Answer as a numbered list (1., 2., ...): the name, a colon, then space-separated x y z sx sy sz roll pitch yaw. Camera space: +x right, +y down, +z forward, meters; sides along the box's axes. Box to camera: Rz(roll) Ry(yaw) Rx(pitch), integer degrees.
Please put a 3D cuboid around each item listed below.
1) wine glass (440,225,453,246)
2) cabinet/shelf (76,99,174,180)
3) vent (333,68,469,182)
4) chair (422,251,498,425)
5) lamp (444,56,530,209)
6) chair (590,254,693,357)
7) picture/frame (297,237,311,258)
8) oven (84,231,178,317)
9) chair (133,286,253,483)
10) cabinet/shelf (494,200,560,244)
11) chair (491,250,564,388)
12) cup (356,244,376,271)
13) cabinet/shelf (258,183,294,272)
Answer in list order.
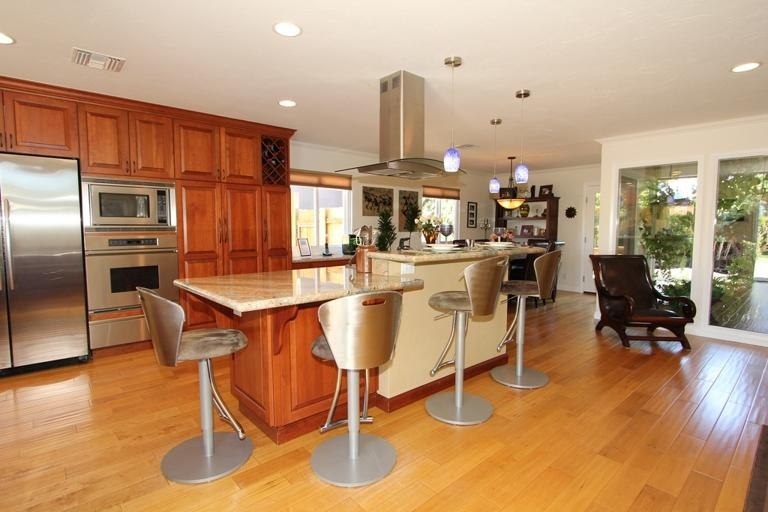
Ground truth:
1. wine glass: 0.671 -0.238 5.226 0.126 0.245 0.430 2 11 7
2. cabinet/shelf: -3.089 -1.377 5.673 0.412 0.831 1.086 0 -1 45
3. vent: 0.185 -1.395 5.359 1.111 1.034 1.354 13 21 40
4. chair: 0.748 0.743 4.626 0.767 1.537 0.717 -6 14 -26
5. lamp: 1.432 -1.678 6.752 1.284 1.285 0.286 -1 10 -37
6. chair: 3.348 0.575 6.398 1.036 1.078 1.011 0 12 -1
7. picture/frame: -1.232 -0.138 7.470 0.177 0.235 0.305 -3 11 -13
8. oven: -3.258 0.193 6.066 1.029 1.027 0.793 -5 12 -42
9. chair: -1.490 1.016 3.990 0.789 1.554 0.560 -6 14 -24
10. cabinet/shelf: 2.826 -0.654 9.331 0.388 1.022 1.183 -12 16 -43
11. chair: 1.507 0.628 5.201 0.598 1.408 0.745 5 13 19
12. cup: -0.182 0.022 4.636 0.167 0.261 0.139 0 13 -1
13. cabinet/shelf: -1.495 -0.391 6.744 0.535 1.152 0.254 -8 15 -31
